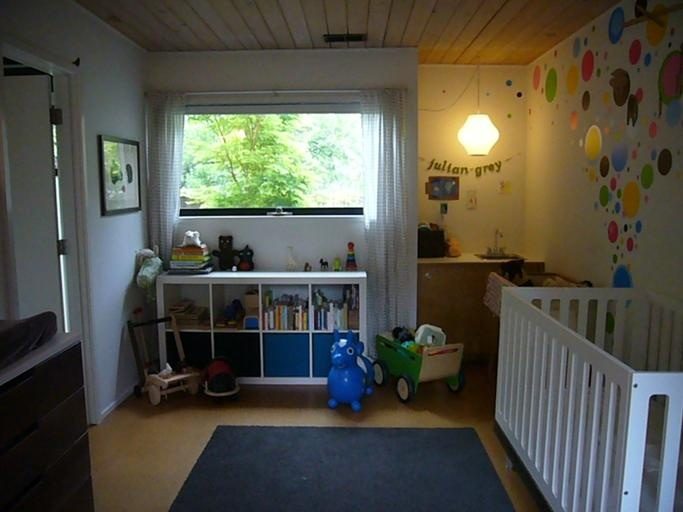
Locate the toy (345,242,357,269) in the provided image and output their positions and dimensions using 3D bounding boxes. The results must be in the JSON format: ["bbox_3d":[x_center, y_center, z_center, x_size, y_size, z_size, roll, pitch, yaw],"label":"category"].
[{"bbox_3d":[0.086,0.006,4.636,0.096,0.217,0.189,1,14,4],"label":"toy"}]

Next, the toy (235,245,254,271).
[{"bbox_3d":[-0.859,0.035,4.657,0.192,0.315,0.075,0,-7,-3],"label":"toy"}]

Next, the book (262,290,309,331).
[{"bbox_3d":[-0.468,0.475,4.425,0.297,0.117,0.319,0,7,3],"label":"book"}]

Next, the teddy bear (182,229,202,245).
[{"bbox_3d":[-1.266,-0.143,4.504,0.118,0.124,0.154,0,-4,2],"label":"teddy bear"}]

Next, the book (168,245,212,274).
[{"bbox_3d":[-1.280,0.037,4.434,0.219,0.158,0.306,-1,6,-4],"label":"book"}]

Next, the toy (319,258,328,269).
[{"bbox_3d":[-0.151,0.081,4.670,0.084,0.088,0.116,-1,14,-4],"label":"toy"}]

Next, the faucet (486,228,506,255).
[{"bbox_3d":[1.497,-0.134,5.159,0.208,0.268,0.158,0,-6,5],"label":"faucet"}]

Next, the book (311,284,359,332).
[{"bbox_3d":[-0.053,0.393,4.554,0.390,0.363,0.467,-1,14,-2],"label":"book"}]

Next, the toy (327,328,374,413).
[{"bbox_3d":[0.076,0.875,4.076,0.368,0.572,0.318,-1,14,-3],"label":"toy"}]

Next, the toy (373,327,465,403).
[{"bbox_3d":[0.600,0.925,4.354,0.483,0.437,0.654,0,5,-28],"label":"toy"}]

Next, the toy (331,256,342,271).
[{"bbox_3d":[-0.038,0.076,4.689,0.096,0.183,0.109,0,4,4],"label":"toy"}]

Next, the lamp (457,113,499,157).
[{"bbox_3d":[1.270,-1.103,4.861,0.339,0.375,0.359,3,7,23],"label":"lamp"}]

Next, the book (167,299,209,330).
[{"bbox_3d":[-1.266,0.495,4.473,0.201,0.153,0.297,1,6,-1],"label":"book"}]
